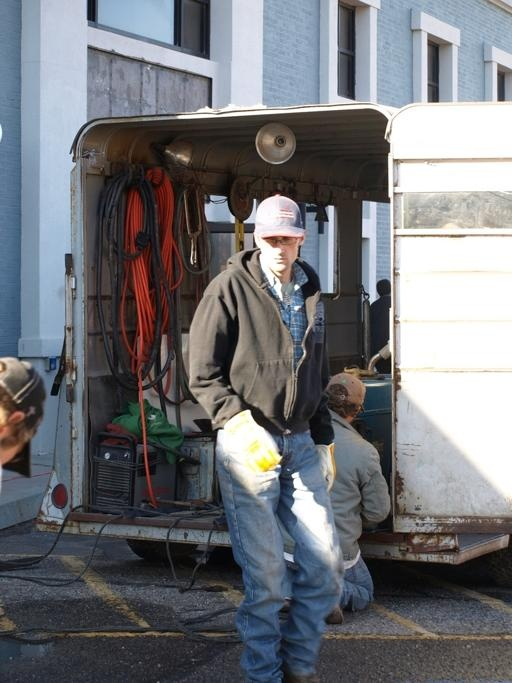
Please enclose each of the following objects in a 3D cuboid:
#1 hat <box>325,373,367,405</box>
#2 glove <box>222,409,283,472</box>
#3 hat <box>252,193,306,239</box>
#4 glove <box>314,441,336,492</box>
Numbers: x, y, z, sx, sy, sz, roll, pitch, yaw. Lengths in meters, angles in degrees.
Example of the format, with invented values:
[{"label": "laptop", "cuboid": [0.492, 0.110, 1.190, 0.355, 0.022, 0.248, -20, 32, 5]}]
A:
[{"label": "hat", "cuboid": [0.452, 0.242, 5.220, 0.177, 0.136, 0.291, 22, 7, 29]}, {"label": "glove", "cuboid": [-0.034, 0.366, 3.704, 0.174, 0.071, 0.287, -10, 52, -28]}, {"label": "hat", "cuboid": [0.081, -0.475, 3.855, 0.188, 0.164, 0.308, 2, 12, 1]}, {"label": "glove", "cuboid": [0.287, 0.477, 4.128, 0.073, 0.147, 0.104, -7, 13, 10]}]
